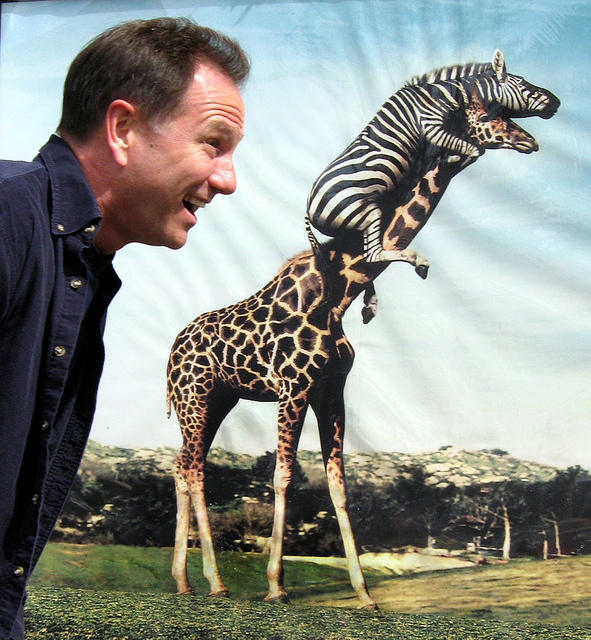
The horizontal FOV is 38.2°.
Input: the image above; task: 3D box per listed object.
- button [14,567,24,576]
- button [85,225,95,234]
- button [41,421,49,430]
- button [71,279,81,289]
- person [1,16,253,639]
[{"bbox_3d":[-0.497,0.449,1.525,0.018,0.013,0.003,17,-29,9],"label":"button"},{"bbox_3d":[-0.380,-0.168,1.572,0.017,0.016,0.004,12,-20,-30],"label":"button"},{"bbox_3d":[-0.451,0.188,1.528,0.020,0.010,0.007,-8,-15,0],"label":"button"},{"bbox_3d":[-0.399,-0.067,1.549,0.020,0.013,0.004,1,-17,-18],"label":"button"},{"bbox_3d":[-0.344,-0.021,1.599,0.410,1.185,0.390,5,-19,-4],"label":"person"}]
